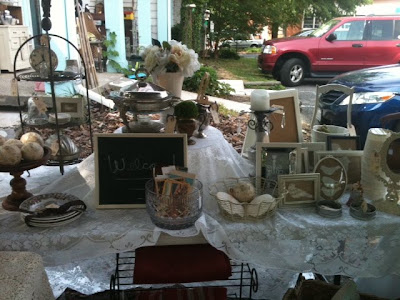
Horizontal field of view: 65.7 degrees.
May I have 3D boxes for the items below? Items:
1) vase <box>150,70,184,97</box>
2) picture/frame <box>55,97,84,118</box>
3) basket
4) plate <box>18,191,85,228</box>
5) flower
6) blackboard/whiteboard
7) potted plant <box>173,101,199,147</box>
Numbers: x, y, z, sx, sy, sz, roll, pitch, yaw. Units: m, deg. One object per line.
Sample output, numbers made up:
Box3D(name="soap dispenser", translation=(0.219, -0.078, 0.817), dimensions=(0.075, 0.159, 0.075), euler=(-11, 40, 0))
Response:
Box3D(name="vase", translation=(-0.225, -0.464, 2.234), dimensions=(0.234, 0.186, 0.214), euler=(-1, 16, 3))
Box3D(name="picture/frame", translation=(-1.114, -0.358, 2.610), dimensions=(0.025, 0.142, 0.236), euler=(3, 7, 34))
Box3D(name="basket", translation=(0.263, 0.279, 1.875), dimensions=(0.542, 0.205, 0.343), euler=(-2, 21, -10))
Box3D(name="plate", translation=(-0.803, 0.326, 1.655), dimensions=(0.271, 0.084, 0.241), euler=(14, 21, 32))
Box3D(name="flower", translation=(-0.212, -0.646, 2.156), dimensions=(0.396, 0.265, 0.287), euler=(-3, 14, -9))
Box3D(name="blackboard/whiteboard", translation=(-0.345, 0.115, 1.831), dimensions=(0.030, 0.410, 0.659), euler=(-3, -3, 41))
Box3D(name="potted plant", translation=(-0.104, -0.173, 1.943), dimensions=(0.199, 0.258, 0.169), euler=(9, 8, 16))
